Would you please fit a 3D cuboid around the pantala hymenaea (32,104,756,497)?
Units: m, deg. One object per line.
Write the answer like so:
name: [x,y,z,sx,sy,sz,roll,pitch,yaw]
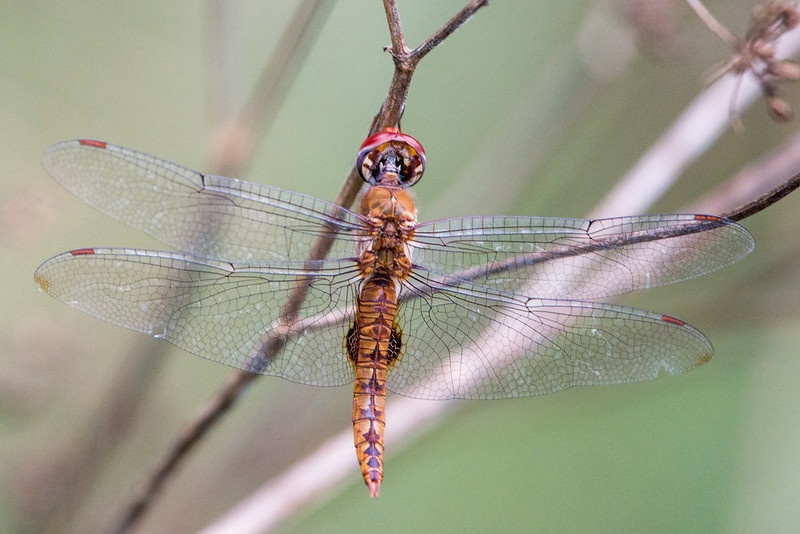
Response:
pantala hymenaea: [-0.024,-0.010,1.391,1.157,0.219,0.614,23,-80,-10]
